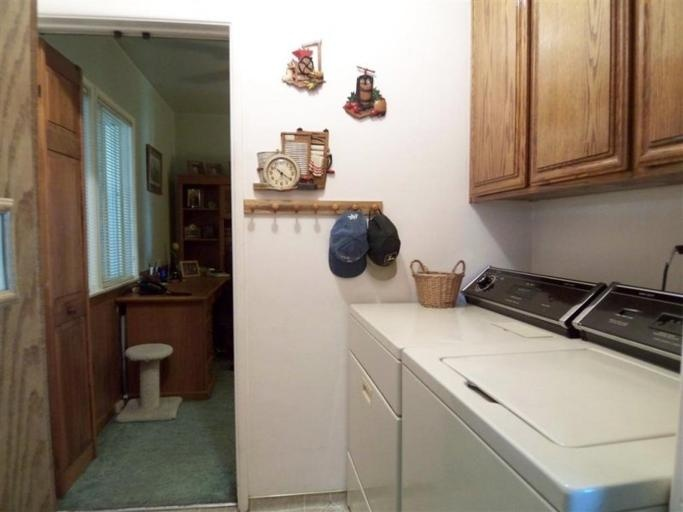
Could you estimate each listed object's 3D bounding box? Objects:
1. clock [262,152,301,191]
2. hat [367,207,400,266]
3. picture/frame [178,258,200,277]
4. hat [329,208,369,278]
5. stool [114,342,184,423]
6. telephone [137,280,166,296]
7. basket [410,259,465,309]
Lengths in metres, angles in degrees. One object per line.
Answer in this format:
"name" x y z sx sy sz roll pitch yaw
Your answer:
"clock" -0.292 -0.405 2.477 0.159 0.165 0.042 -3 7 -20
"hat" 0.198 -0.109 2.539 0.158 0.259 0.140 -18 15 -19
"picture/frame" -1.596 0.128 5.340 0.018 0.168 0.180 -12 -7 38
"hat" 0.031 -0.065 2.527 0.205 0.321 0.099 2 11 -9
"stool" -1.354 0.864 3.675 0.444 0.435 0.458 0 1 -9
"telephone" -1.493 0.252 4.019 0.182 0.071 0.114 4 -1 -24
"basket" 0.481 0.134 2.580 0.261 0.237 0.269 2 -3 -5
